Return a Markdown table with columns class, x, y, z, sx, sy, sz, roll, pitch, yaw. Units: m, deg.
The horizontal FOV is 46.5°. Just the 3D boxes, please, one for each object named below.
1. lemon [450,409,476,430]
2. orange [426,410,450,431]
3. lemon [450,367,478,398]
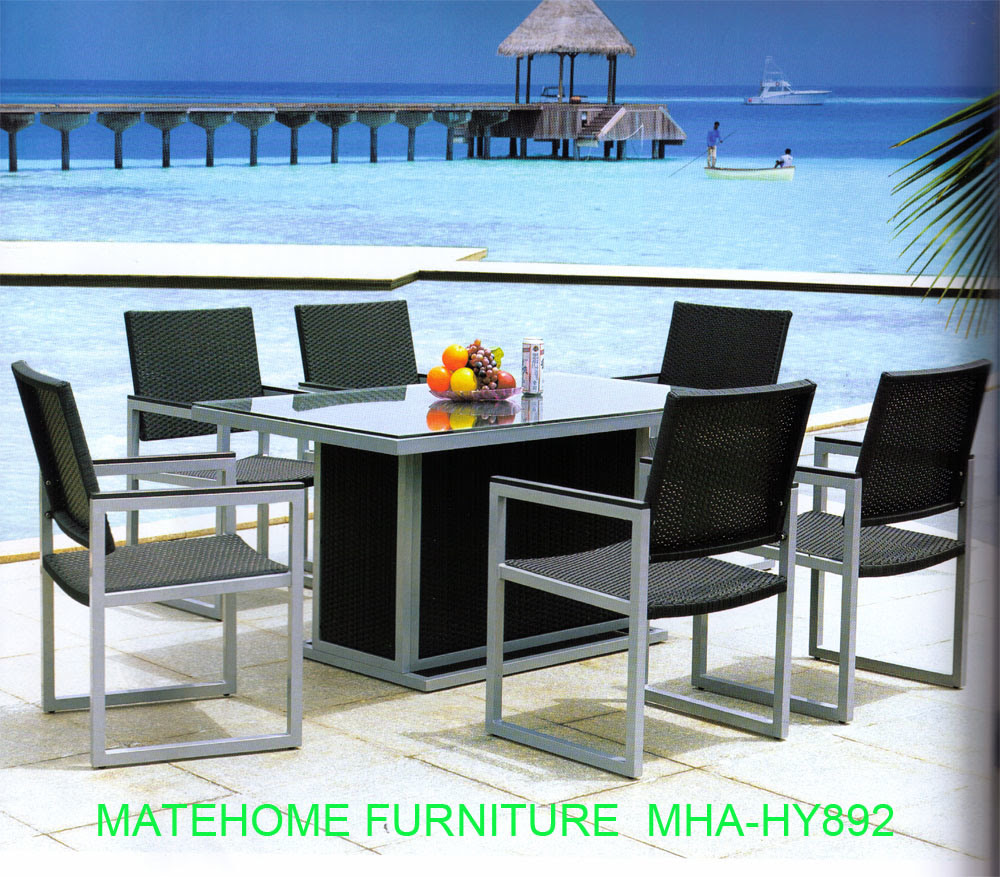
| class | x | y | z | sx | sy | sz | roll | pitch | yaw |
| --- | --- | --- | --- | --- | --- | --- | --- | --- | --- |
| lemon | -0.095 | -0.046 | 2.986 | 0.065 | 0.052 | 0.063 | 16 | 33 | -9 |
| orange | -0.158 | -0.045 | 2.958 | 0.067 | 0.028 | 0.057 | 2 | 14 | 11 |
| lemon | -0.101 | -0.153 | 3.219 | 0.093 | 0.078 | 0.079 | -2 | -5 | 1 |
